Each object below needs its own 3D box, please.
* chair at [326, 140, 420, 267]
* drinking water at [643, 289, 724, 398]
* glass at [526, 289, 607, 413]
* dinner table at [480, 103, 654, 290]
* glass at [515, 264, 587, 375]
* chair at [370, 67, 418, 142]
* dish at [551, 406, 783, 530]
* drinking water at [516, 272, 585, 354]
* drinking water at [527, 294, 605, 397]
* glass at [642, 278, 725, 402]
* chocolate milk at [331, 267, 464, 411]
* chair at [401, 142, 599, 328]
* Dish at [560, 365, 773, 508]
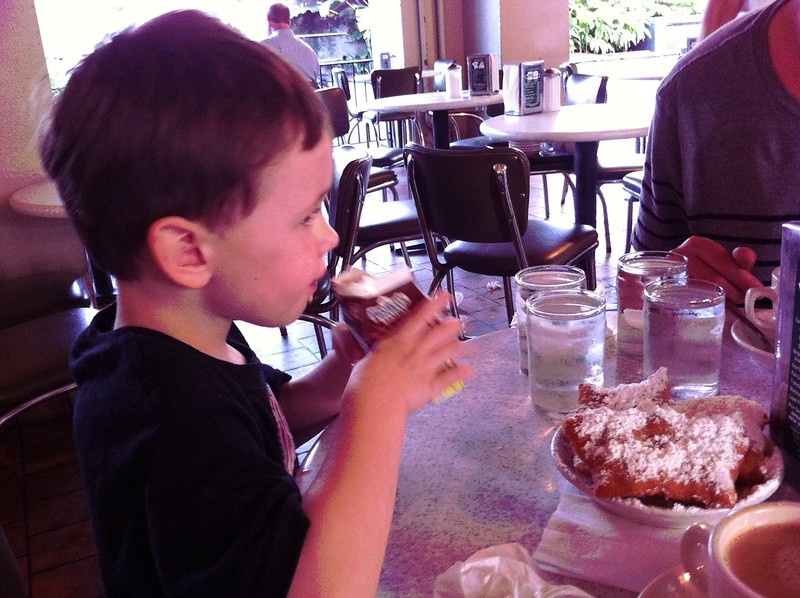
[{"bbox_3d":[0.014,-0.374,2.950,0.440,0.603,0.491,-1,9,34],"label":"chair"},{"bbox_3d":[0.405,0.064,0.874,0.085,0.146,0.091,12,33,40],"label":"drinking water"},{"bbox_3d":[0.237,0.078,0.878,0.120,0.185,0.117,-5,23,3],"label":"glass"},{"bbox_3d":[0.862,-0.583,3.239,0.753,0.554,0.776,0,31,8],"label":"dinner table"},{"bbox_3d":[0.229,0.036,0.934,0.125,0.205,0.130,-1,24,8],"label":"glass"},{"bbox_3d":[-0.050,-1.841,5.672,0.460,0.775,0.501,-5,45,-7],"label":"chair"},{"bbox_3d":[0.289,0.190,0.670,0.130,0.028,0.132,6,24,28],"label":"dish"},{"bbox_3d":[0.229,0.024,0.931,0.103,0.169,0.102,-1,21,8],"label":"drinking water"},{"bbox_3d":[0.239,0.070,0.881,0.097,0.149,0.088,-11,24,-12],"label":"drinking water"},{"bbox_3d":[0.404,0.062,0.876,0.094,0.159,0.101,12,32,39],"label":"glass"},{"bbox_3d":[-0.011,0.051,0.785,0.104,0.161,0.090,-24,19,-38],"label":"chocolate milk"},{"bbox_3d":[0.463,-0.249,2.670,0.624,1.018,0.757,15,34,44],"label":"chair"},{"bbox_3d":[0.299,0.163,0.686,0.151,0.023,0.155,-14,21,7],"label":"Dish"}]
